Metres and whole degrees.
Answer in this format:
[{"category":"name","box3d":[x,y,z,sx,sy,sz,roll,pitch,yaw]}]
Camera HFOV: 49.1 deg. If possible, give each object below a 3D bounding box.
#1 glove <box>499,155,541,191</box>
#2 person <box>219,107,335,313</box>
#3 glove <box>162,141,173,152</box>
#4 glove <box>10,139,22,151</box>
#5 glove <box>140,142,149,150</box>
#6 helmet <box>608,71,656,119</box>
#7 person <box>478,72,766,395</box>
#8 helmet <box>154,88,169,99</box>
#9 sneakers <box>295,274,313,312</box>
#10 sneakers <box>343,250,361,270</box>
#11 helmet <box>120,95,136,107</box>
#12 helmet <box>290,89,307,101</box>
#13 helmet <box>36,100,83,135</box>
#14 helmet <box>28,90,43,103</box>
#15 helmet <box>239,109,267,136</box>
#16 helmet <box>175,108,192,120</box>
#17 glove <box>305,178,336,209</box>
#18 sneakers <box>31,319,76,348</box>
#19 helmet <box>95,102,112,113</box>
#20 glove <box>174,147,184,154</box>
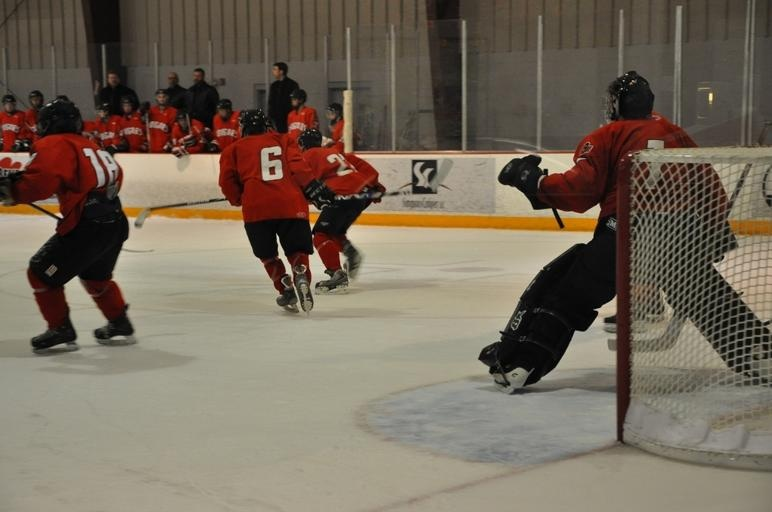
[{"category":"glove","box3d":[0.625,-0.371,3.872,0.206,0.066,0.184,-9,-19,6]},{"category":"person","box3d":[-0.720,-0.280,5.393,0.643,1.302,0.439,3,12,18]},{"category":"glove","box3d":[-2.772,-1.400,10.846,0.127,0.098,0.122,-35,37,0]},{"category":"glove","box3d":[-5.108,-1.538,11.725,0.117,0.151,0.184,3,-2,32]},{"category":"glove","box3d":[-3.159,-1.450,11.100,0.115,0.087,0.108,-1,-8,25]},{"category":"helmet","box3d":[1.107,-0.745,3.931,0.216,0.211,0.249,2,19,9]},{"category":"person","box3d":[1.296,-0.125,4.113,1.548,1.406,1.258,3,9,43]},{"category":"helmet","box3d":[-2.828,-2.071,10.697,0.141,0.108,0.122,17,22,29]},{"category":"sneakers","box3d":[-0.463,0.216,5.169,0.100,0.239,0.120,-11,-9,-20]},{"category":"sneakers","box3d":[-0.234,0.029,6.138,0.160,0.120,0.148,0,-2,14]},{"category":"helmet","box3d":[-3.287,-2.012,10.891,0.153,0.154,0.163,3,8,13]},{"category":"helmet","box3d":[-1.011,-1.878,9.820,0.179,0.137,0.137,6,1,-9]},{"category":"helmet","box3d":[-1.659,-0.732,4.419,0.258,0.178,0.180,6,4,-6]},{"category":"helmet","box3d":[-4.551,-2.113,11.070,0.162,0.153,0.170,-15,29,-14]},{"category":"helmet","box3d":[-0.842,-0.848,5.379,0.185,0.164,0.186,1,-2,-13]},{"category":"helmet","box3d":[-2.526,-1.789,10.582,0.134,0.149,0.155,8,9,29]},{"category":"glove","box3d":[-0.435,-0.404,5.478,0.098,0.133,0.216,47,5,31]},{"category":"sneakers","box3d":[-1.744,0.434,4.544,0.267,0.123,0.123,1,1,-10]},{"category":"helmet","box3d":[-3.664,-1.951,11.038,0.149,0.091,0.145,1,0,-40]},{"category":"glove","box3d":[-2.587,-1.318,10.579,0.143,0.097,0.054,5,12,27]}]
